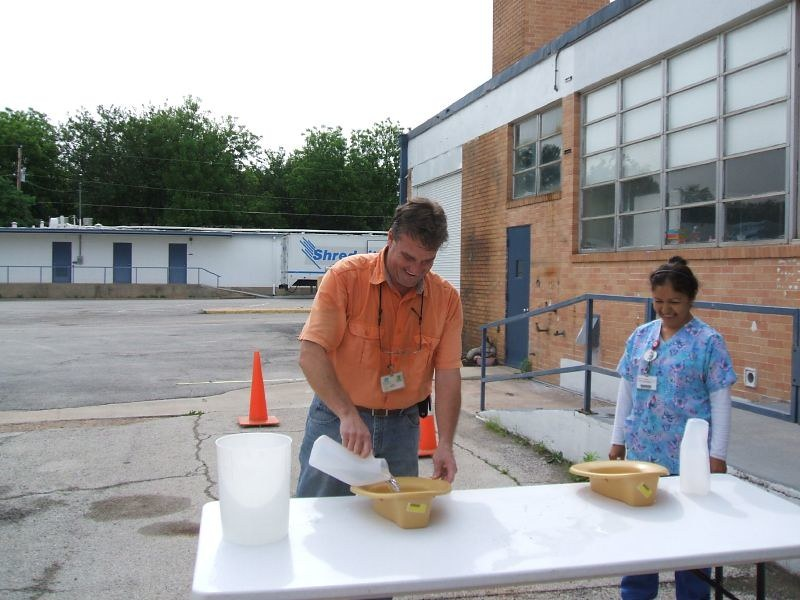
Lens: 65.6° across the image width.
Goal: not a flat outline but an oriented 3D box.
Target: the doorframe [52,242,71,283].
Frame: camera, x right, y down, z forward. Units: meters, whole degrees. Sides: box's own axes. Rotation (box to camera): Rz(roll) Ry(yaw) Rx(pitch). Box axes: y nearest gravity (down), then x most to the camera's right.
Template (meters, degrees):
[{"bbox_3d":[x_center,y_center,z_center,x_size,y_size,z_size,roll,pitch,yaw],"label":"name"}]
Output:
[{"bbox_3d":[-17.714,-1.964,32.522,0.983,2.019,0.413,-1,9,-8],"label":"doorframe"}]

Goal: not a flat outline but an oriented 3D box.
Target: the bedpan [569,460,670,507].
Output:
[{"bbox_3d":[1.067,0.883,3.020,0.429,0.166,0.471,1,-9,-21],"label":"bedpan"}]

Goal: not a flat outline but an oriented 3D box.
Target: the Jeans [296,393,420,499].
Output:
[{"bbox_3d":[-0.194,0.717,3.061,0.532,0.719,0.266,9,-9,-25],"label":"Jeans"}]

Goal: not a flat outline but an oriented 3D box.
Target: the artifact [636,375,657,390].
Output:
[{"bbox_3d":[1.450,0.487,3.647,0.088,0.084,0.023,3,-5,32],"label":"artifact"}]

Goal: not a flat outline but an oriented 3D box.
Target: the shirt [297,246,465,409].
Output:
[{"bbox_3d":[-0.111,0.158,3.404,1.025,0.781,0.481,6,7,-27],"label":"shirt"}]

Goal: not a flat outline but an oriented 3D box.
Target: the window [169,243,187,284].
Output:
[{"bbox_3d":[-12.010,-1.936,33.556,0.777,1.981,0.093,0,4,-20],"label":"window"}]

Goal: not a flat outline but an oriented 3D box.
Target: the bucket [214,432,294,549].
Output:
[{"bbox_3d":[-0.526,0.757,2.635,0.413,0.447,0.400,2,5,0],"label":"bucket"}]

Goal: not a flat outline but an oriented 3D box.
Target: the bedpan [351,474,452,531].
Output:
[{"bbox_3d":[0.006,0.884,2.749,0.436,0.136,0.455,1,-7,-18],"label":"bedpan"}]

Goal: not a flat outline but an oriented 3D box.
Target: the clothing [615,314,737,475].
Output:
[{"bbox_3d":[1.614,0.520,3.731,0.375,0.889,0.738,-18,18,-35],"label":"clothing"}]

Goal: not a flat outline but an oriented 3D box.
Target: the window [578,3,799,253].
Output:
[{"bbox_3d":[3.627,-2.121,7.669,0.179,2.510,3.886,2,-3,-24],"label":"window"}]
